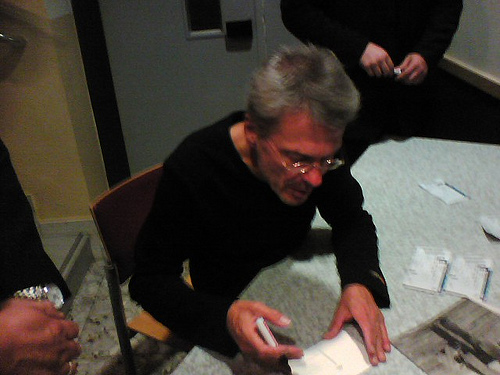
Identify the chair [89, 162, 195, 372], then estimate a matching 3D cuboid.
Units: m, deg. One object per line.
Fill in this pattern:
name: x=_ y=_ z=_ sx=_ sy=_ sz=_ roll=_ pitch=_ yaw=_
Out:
chair: x=-0.358 y=0.350 z=1.363 sx=0.241 sy=0.807 sz=0.272 roll=-11 pitch=31 yaw=-22
